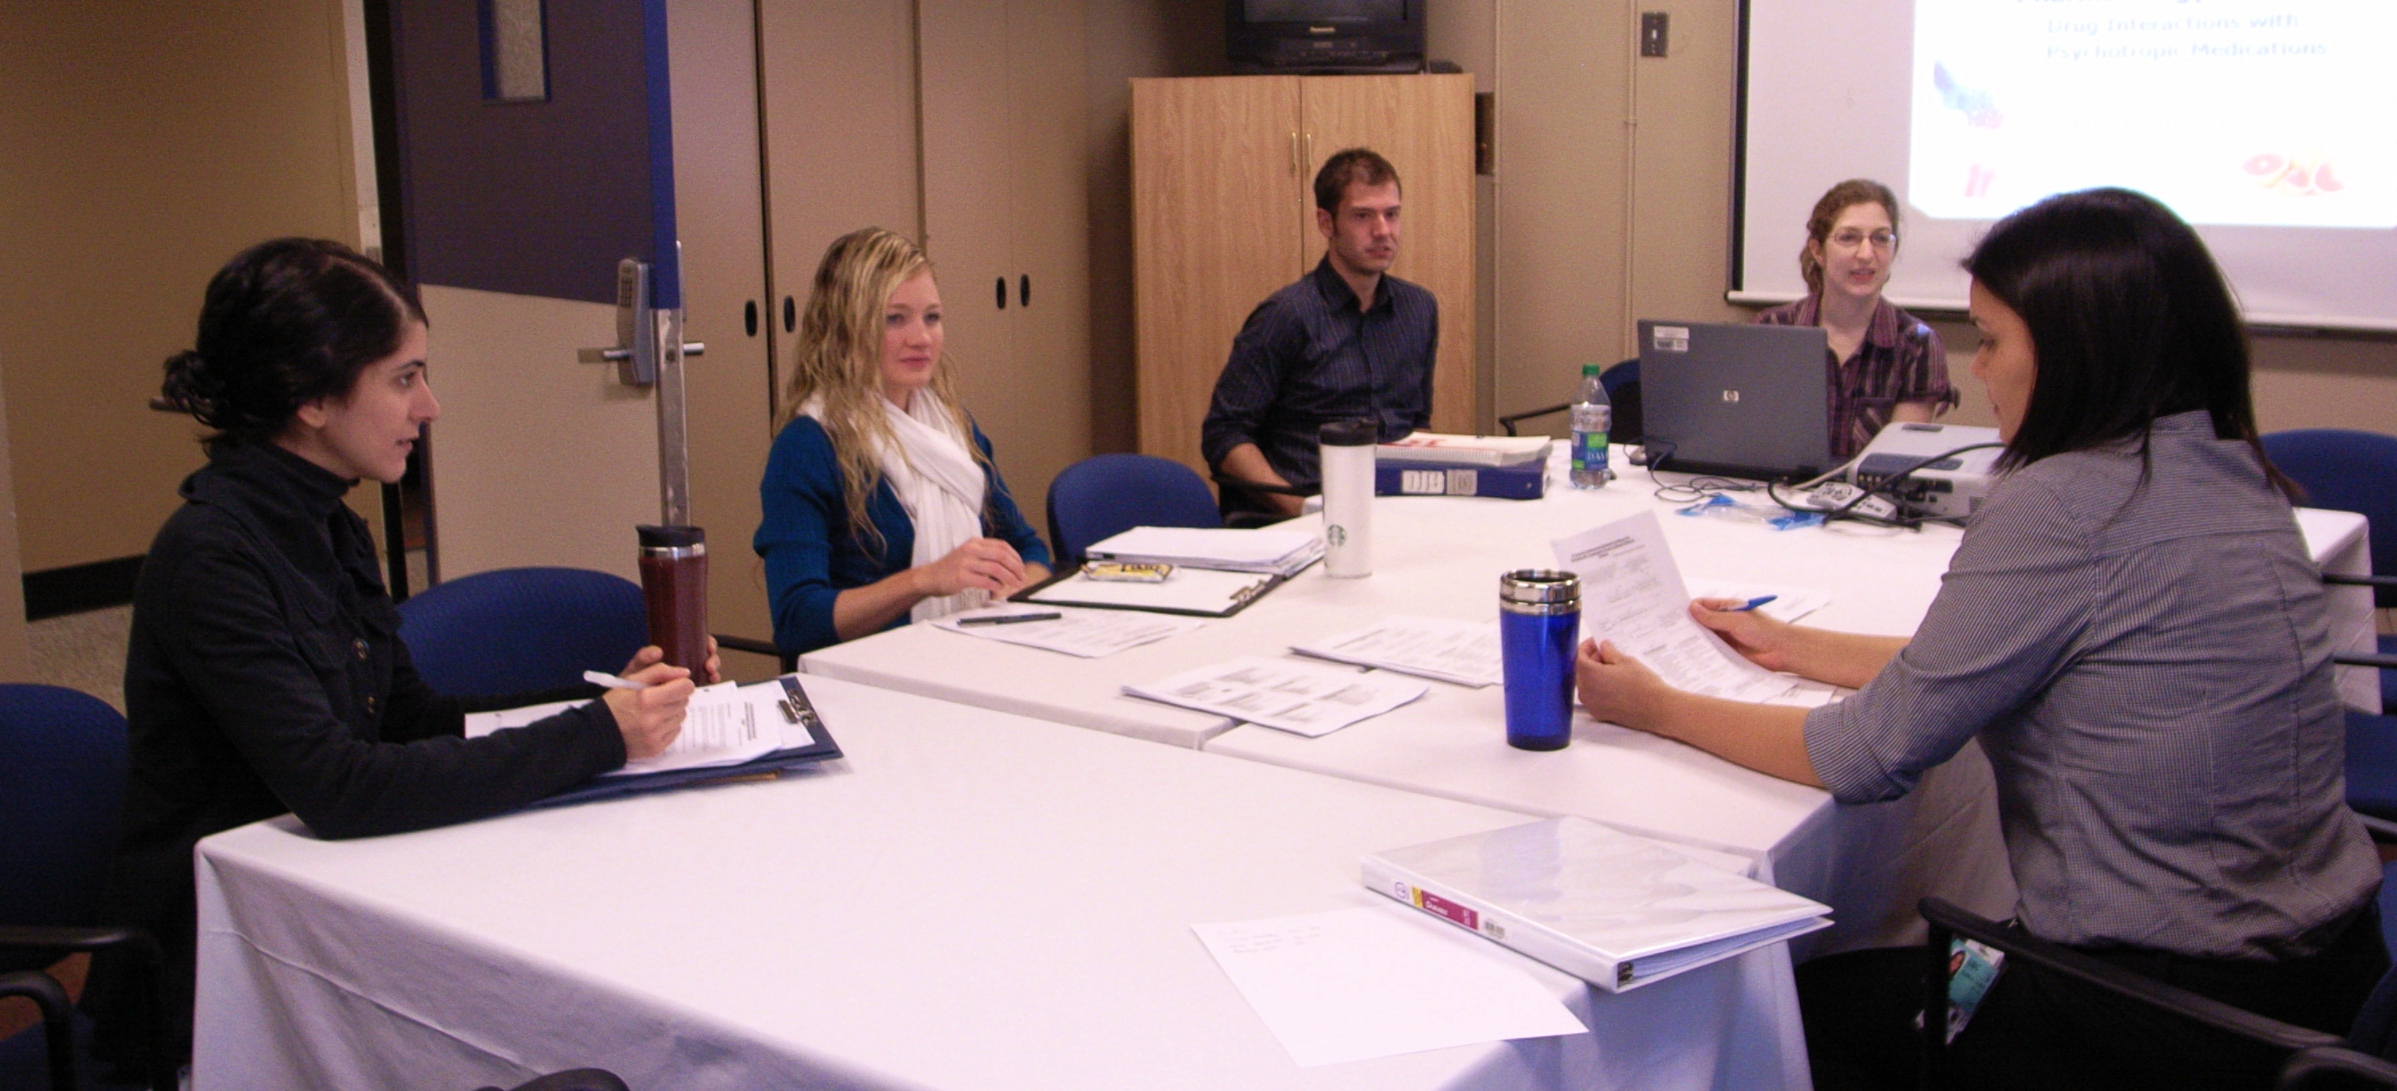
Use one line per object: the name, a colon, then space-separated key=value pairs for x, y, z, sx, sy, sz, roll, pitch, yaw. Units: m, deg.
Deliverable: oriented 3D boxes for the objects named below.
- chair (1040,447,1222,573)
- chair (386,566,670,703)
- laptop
chair: x=-0.324 y=-0.138 z=5.182 sx=0.456 sy=0.500 sz=0.491 roll=-9 pitch=-8 yaw=-30
chair: x=-1.878 y=0.231 z=4.099 sx=0.425 sy=0.475 sz=0.476 roll=-9 pitch=-2 yaw=-34
laptop: x=1.787 y=-0.476 z=4.965 sx=0.763 sy=0.479 sz=0.584 roll=6 pitch=13 yaw=31
